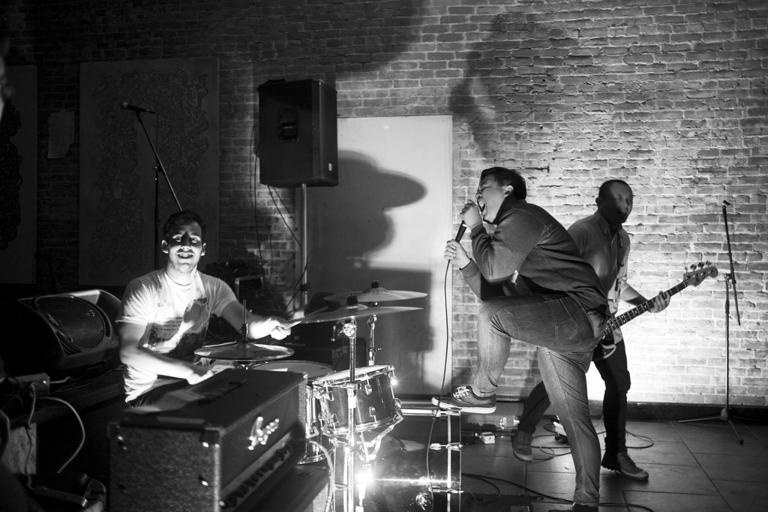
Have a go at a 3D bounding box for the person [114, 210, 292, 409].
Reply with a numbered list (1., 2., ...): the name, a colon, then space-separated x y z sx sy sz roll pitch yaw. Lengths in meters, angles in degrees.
1. person: -1.317 0.345 4.890 0.981 1.301 0.612 -1 5 -24

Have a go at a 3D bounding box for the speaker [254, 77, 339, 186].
1. speaker: -0.789 -1.106 6.422 0.627 0.929 0.361 2 5 16

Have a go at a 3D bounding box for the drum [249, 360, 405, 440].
1. drum: -0.269 1.041 4.854 0.837 0.531 0.775 1 4 0

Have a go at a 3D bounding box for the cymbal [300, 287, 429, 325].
1. cymbal: -0.137 0.377 5.325 0.817 0.268 0.881 1 4 4

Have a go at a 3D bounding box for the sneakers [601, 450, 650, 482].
1. sneakers: 1.888 1.651 5.631 0.442 0.180 0.165 2 -2 38

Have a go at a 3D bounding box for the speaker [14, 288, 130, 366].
1. speaker: -2.404 0.568 5.495 0.642 0.538 0.803 10 1 15

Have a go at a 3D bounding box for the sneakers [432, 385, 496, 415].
1. sneakers: 0.578 1.020 5.060 0.517 0.200 0.176 6 -13 6

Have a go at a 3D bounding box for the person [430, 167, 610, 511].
1. person: 0.988 0.563 4.995 1.099 2.373 0.495 2 5 16

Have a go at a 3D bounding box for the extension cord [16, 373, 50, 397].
1. extension cord: -2.256 0.830 4.532 0.144 0.164 0.197 9 4 39
